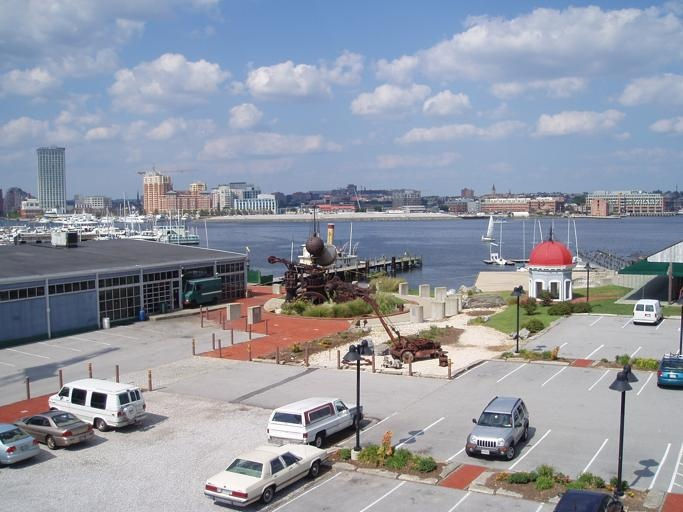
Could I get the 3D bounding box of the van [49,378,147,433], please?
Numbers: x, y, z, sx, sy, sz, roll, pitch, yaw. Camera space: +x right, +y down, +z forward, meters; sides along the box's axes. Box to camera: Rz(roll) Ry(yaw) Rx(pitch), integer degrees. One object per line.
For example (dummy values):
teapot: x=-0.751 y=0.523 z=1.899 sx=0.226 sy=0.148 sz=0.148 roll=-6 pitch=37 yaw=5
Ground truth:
van: x=-11.661 y=6.983 z=37.702 sx=4.168 sy=1.575 sz=2.055 roll=9 pitch=6 yaw=29

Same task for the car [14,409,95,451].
car: x=-12.688 y=7.823 z=35.383 sx=3.203 sy=0.978 sz=1.418 roll=11 pitch=9 yaw=32

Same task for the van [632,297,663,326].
van: x=21.784 y=3.886 z=55.770 sx=1.493 sy=1.035 sz=2.243 roll=1 pitch=12 yaw=27

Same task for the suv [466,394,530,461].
suv: x=6.915 y=7.606 z=34.622 sx=1.888 sy=1.879 sz=3.161 roll=5 pitch=11 yaw=29

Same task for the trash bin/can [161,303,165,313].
trash bin/can: x=-13.998 y=4.017 z=62.015 sx=0.299 sy=0.691 sz=0.490 roll=-4 pitch=10 yaw=-13

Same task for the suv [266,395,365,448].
suv: x=-1.197 y=7.450 z=35.162 sx=2.304 sy=1.755 sz=5.233 roll=0 pitch=-1 yaw=32
